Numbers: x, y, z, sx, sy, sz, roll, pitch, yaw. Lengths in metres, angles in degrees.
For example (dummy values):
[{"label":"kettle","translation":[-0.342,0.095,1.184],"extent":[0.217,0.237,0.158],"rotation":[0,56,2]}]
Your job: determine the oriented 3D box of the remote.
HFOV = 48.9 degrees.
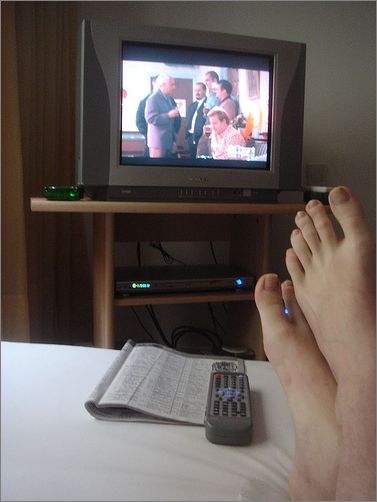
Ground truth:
[{"label":"remote","translation":[0.053,0.205,0.539],"extent":[0.054,0.057,0.165],"rotation":[1,3,5]}]
